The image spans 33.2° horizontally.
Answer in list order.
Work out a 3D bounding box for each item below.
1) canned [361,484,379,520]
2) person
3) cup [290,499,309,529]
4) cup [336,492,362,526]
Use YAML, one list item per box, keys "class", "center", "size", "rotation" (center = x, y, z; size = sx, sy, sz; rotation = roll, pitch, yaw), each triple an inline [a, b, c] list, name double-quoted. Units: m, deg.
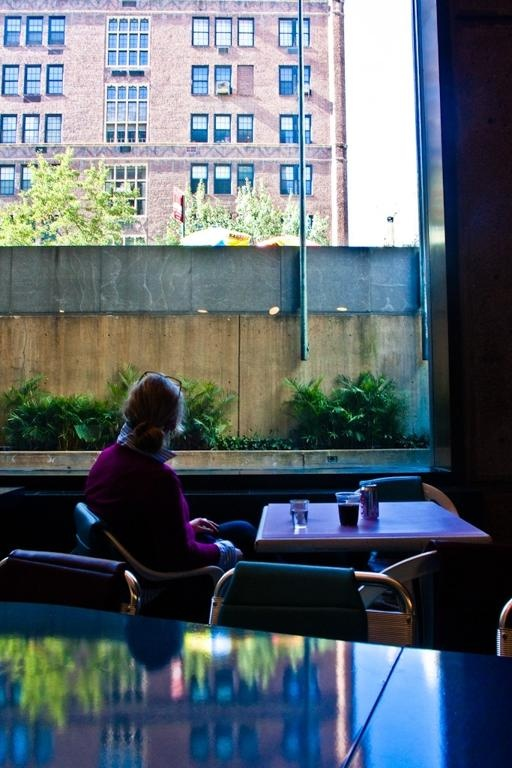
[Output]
- class: "canned"
  center: [0.394, 0.411, 2.970]
  size: [0.072, 0.147, 0.078]
  rotation: [2, -15, -8]
- class: "person"
  center: [-0.299, 0.397, 2.984]
  size: [0.660, 0.874, 0.460]
  rotation: [0, -1, -36]
- class: "cup"
  center: [0.136, 0.426, 2.852]
  size: [0.067, 0.093, 0.074]
  rotation: [0, -8, -1]
- class: "cup"
  center: [0.313, 0.417, 2.877]
  size: [0.077, 0.095, 0.084]
  rotation: [0, -9, 0]
